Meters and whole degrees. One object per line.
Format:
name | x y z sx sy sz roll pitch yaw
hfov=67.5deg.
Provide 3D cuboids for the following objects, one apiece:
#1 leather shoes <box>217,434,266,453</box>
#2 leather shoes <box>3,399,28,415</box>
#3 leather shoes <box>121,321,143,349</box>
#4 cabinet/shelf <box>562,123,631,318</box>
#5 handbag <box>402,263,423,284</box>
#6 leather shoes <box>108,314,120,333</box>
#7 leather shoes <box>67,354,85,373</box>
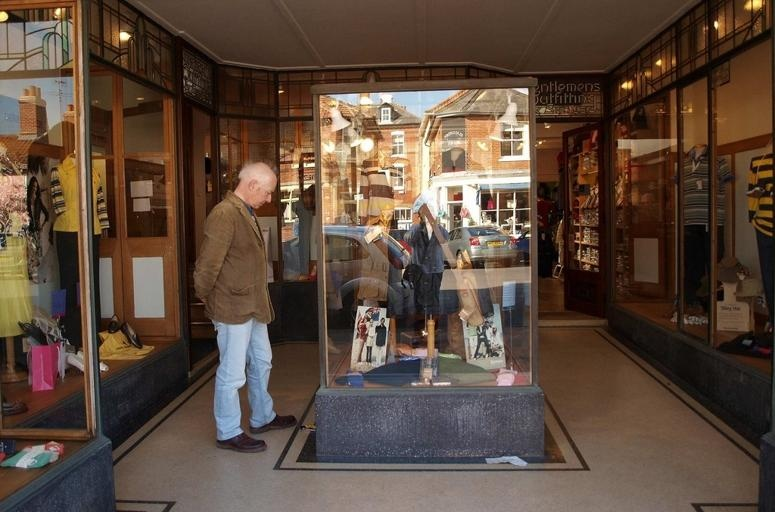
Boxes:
leather shoes | -1.212 1.523 4.817 0.333 0.123 0.165 0 -3 5
leather shoes | -2.579 1.047 4.039 0.216 0.090 0.074 2 10 -13
leather shoes | -2.679 0.823 6.067 0.091 0.230 0.085 -34 10 3
cabinet/shelf | 3.025 -0.581 8.831 0.544 2.789 1.656 0 10 8
handbag | 0.207 0.143 4.693 0.178 0.245 0.134 2 -3 -3
leather shoes | -2.872 0.720 6.097 0.085 0.087 0.233 -3 13 -21
leather shoes | -2.136 0.718 3.962 0.203 0.111 0.037 8 13 39
